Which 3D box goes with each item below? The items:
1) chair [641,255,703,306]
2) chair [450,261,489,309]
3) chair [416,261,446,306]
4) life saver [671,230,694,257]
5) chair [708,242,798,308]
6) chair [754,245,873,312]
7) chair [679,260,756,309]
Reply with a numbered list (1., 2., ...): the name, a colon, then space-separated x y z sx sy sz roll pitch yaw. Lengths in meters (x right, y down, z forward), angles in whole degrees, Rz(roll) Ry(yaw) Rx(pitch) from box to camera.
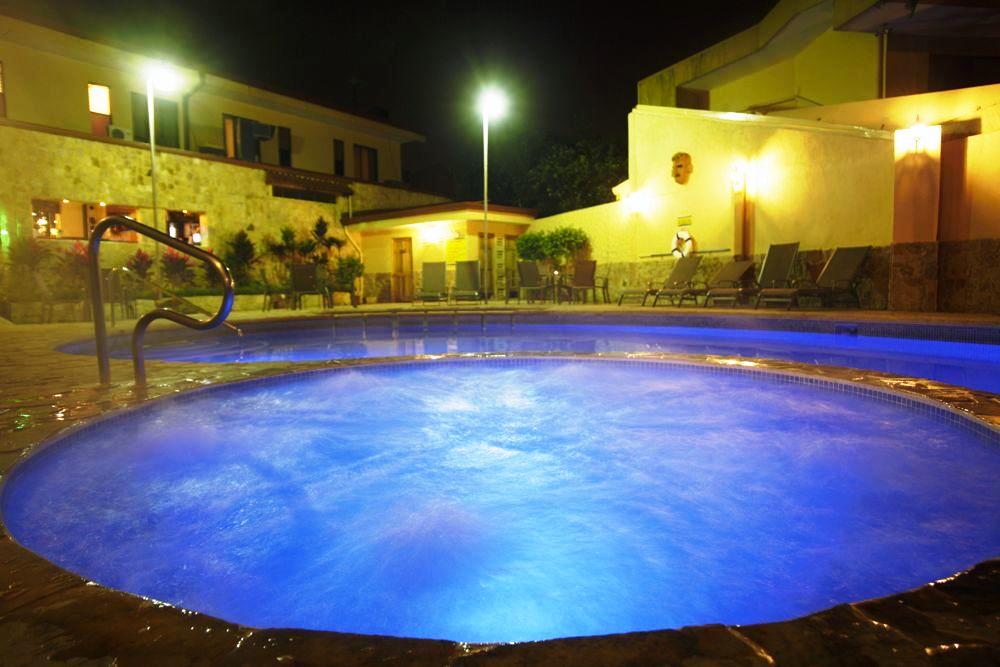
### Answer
1. chair: 3.664 -1.115 15.766 0.871 1.007 1.441 3 -4 -22
2. chair: -0.841 -1.143 17.455 0.636 0.977 0.996 0 24 -3
3. chair: -1.660 -1.302 18.111 0.602 1.080 0.986 0 10 2
4. life saver: 4.216 -2.016 16.518 0.372 0.641 0.573 -1 8 -6
5. chair: 5.173 -1.143 14.184 1.847 1.406 1.027 -3 4 -30
6. chair: 5.653 -0.989 12.908 1.898 1.164 0.955 -1 4 -22
7. chair: 4.652 -1.009 14.627 1.489 0.788 0.888 -7 5 -39
